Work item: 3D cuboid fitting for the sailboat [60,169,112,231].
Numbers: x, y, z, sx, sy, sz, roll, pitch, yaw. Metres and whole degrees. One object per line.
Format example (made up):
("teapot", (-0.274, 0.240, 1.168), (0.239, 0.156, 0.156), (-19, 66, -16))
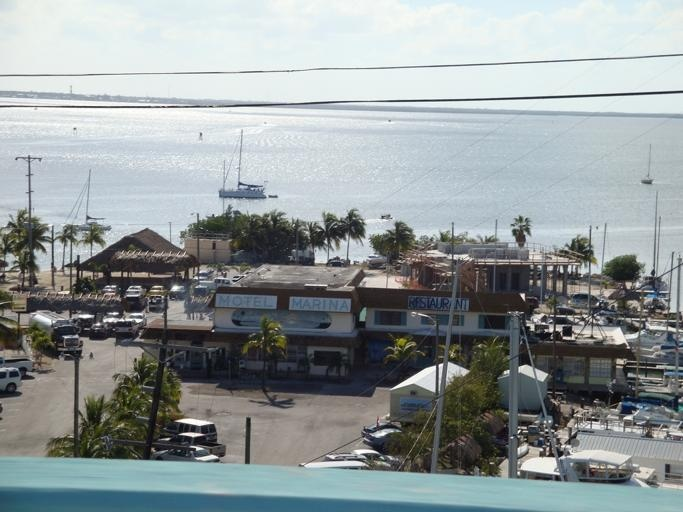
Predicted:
("sailboat", (-41.672, -8.578, 229.980), (1.862, 8.672, 7.916), (6, 13, 32))

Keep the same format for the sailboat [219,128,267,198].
("sailboat", (-20.384, -17.739, 288.737), (9.198, 12.667, 3.140), (2, -5, 22))
